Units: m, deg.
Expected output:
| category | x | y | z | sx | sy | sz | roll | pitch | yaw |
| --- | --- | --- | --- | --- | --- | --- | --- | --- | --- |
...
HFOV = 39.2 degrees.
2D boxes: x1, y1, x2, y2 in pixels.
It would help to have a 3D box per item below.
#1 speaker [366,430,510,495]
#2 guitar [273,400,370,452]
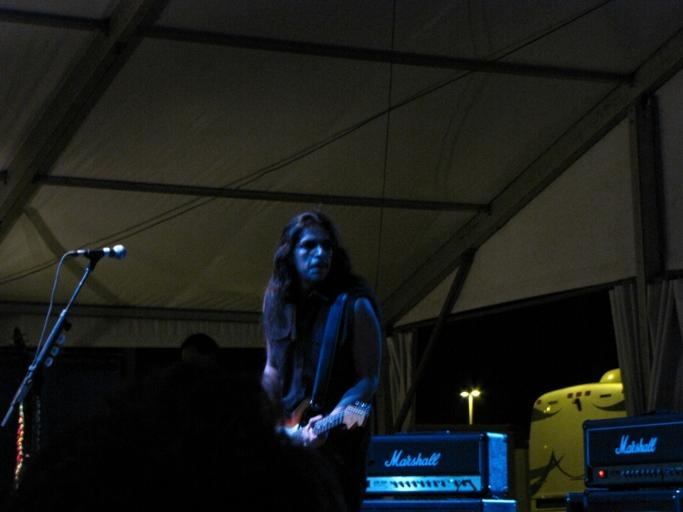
| category | x | y | z | sx | sy | sz | roll | pitch | yaw |
| --- | --- | --- | --- | --- | --- | --- | --- | --- | --- |
| speaker | 0.564 | 1.238 | 5.672 | 0.828 | 0.366 | 0.225 | -1 | -16 | 7 |
| guitar | -0.066 | 0.835 | 4.774 | 0.195 | 0.256 | 0.476 | -12 | -22 | 38 |
